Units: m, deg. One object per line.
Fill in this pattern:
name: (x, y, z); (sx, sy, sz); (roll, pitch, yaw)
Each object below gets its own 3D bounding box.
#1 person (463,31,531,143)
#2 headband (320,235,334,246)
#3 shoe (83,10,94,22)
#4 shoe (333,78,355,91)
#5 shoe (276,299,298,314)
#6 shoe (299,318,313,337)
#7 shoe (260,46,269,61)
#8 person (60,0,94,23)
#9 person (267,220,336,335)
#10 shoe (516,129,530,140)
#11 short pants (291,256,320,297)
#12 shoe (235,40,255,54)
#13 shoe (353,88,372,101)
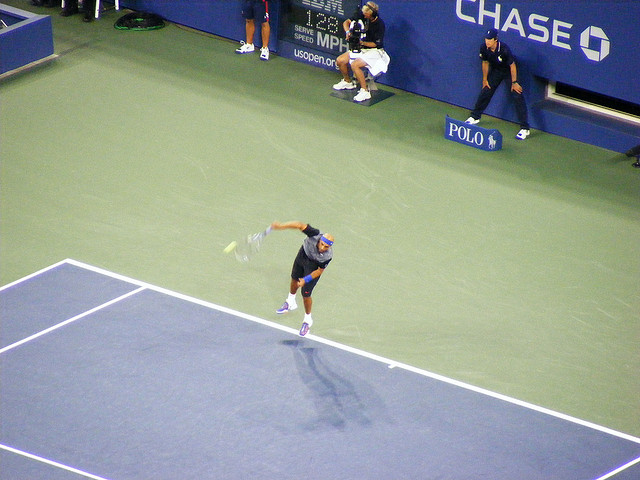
person: (4.492, -3.767, 18.256); (1.411, 2.369, 0.646); (11, 22, 5)
headband: (0.121, 0.032, 12.860); (0.265, 0.195, 0.212); (1, 22, -20)
shoe: (-7.063, -6.800, 22.841); (0.234, 0.386, 0.385); (40, 37, 19)
shoe: (0.649, -4.184, 20.242); (0.610, 0.255, 0.242); (-1, 39, -4)
shoe: (-0.629, 1.283, 14.232); (0.506, 0.203, 0.168); (-29, 48, -31)
shoe: (-0.227, 1.654, 13.902); (0.148, 0.381, 0.183); (17, -6, 32)
shoe: (-1.574, -5.316, 21.401); (0.247, 0.397, 0.306); (6, 22, -9)
person: (-7.418, -7.048, 22.977); (1.084, 0.641, 0.338); (18, 23, 24)
person: (-0.507, 0.575, 13.507); (1.436, 2.120, 1.034); (10, 33, -15)
shoe: (5.043, -2.627, 18.652); (0.161, 0.156, 0.385); (15, 35, 31)
short pants: (-0.276, 0.688, 13.581); (0.336, 0.667, 0.614); (3, 22, -16)
shoe: (-2.129, -5.572, 21.707); (0.651, 0.367, 0.234); (-4, 40, -1)
shoe: (1.142, -3.864, 19.941); (0.554, 0.238, 0.232); (-25, 36, -37)
